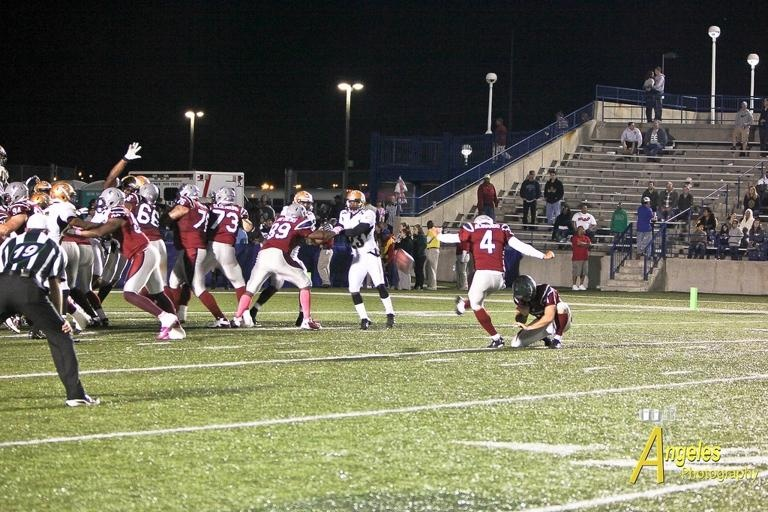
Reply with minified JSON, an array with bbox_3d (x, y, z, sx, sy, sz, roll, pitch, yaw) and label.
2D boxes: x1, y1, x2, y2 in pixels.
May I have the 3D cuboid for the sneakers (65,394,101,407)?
[{"bbox_3d":[-3.108,1.502,11.255,0.359,0.148,0.136,-3,16,-19],"label":"sneakers"}]

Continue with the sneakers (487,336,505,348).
[{"bbox_3d":[1.618,1.231,15.598,0.338,0.194,0.113,-1,13,0],"label":"sneakers"}]

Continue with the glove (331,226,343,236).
[{"bbox_3d":[-0.739,-0.426,17.574,0.154,0.065,0.153,-20,41,-20],"label":"glove"}]

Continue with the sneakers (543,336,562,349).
[{"bbox_3d":[2.482,1.262,15.836,0.119,0.136,0.324,-1,-5,23],"label":"sneakers"}]

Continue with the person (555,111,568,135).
[{"bbox_3d":[7.051,-5.246,42.740,0.399,0.833,0.755,2,6,15],"label":"person"}]

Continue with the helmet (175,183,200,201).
[{"bbox_3d":[-3.244,-1.031,17.661,0.415,0.294,0.385,-8,1,1],"label":"helmet"}]

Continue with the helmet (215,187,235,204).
[{"bbox_3d":[-2.594,-1.014,17.879,0.324,0.287,0.259,17,18,24],"label":"helmet"}]

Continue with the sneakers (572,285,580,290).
[{"bbox_3d":[5.631,0.909,31.714,0.139,0.164,0.404,-3,-4,-4],"label":"sneakers"}]

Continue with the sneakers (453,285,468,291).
[{"bbox_3d":[2.290,0.943,31.553,0.128,0.164,0.404,-2,-7,-13],"label":"sneakers"}]

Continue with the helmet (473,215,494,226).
[{"bbox_3d":[1.494,-0.543,16.117,0.199,0.165,0.216,-2,-13,15],"label":"helmet"}]

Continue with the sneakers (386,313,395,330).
[{"bbox_3d":[0.112,1.054,17.795,0.097,0.257,0.210,0,6,-8],"label":"sneakers"}]

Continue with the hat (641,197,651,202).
[{"bbox_3d":[7.973,-1.734,33.038,0.225,0.070,0.215,-10,12,-37],"label":"hat"}]

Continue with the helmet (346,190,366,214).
[{"bbox_3d":[-0.470,-0.900,17.911,0.297,0.305,0.369,-1,-1,2],"label":"helmet"}]

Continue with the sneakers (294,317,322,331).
[{"bbox_3d":[-1.269,1.092,17.479,0.445,0.177,0.202,4,4,13],"label":"sneakers"}]

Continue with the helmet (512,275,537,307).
[{"bbox_3d":[1.991,0.456,15.156,0.355,0.411,0.410,1,-26,31],"label":"helmet"}]

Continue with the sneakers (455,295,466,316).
[{"bbox_3d":[1.232,0.789,17.243,0.165,0.126,0.336,-17,-22,-9],"label":"sneakers"}]
